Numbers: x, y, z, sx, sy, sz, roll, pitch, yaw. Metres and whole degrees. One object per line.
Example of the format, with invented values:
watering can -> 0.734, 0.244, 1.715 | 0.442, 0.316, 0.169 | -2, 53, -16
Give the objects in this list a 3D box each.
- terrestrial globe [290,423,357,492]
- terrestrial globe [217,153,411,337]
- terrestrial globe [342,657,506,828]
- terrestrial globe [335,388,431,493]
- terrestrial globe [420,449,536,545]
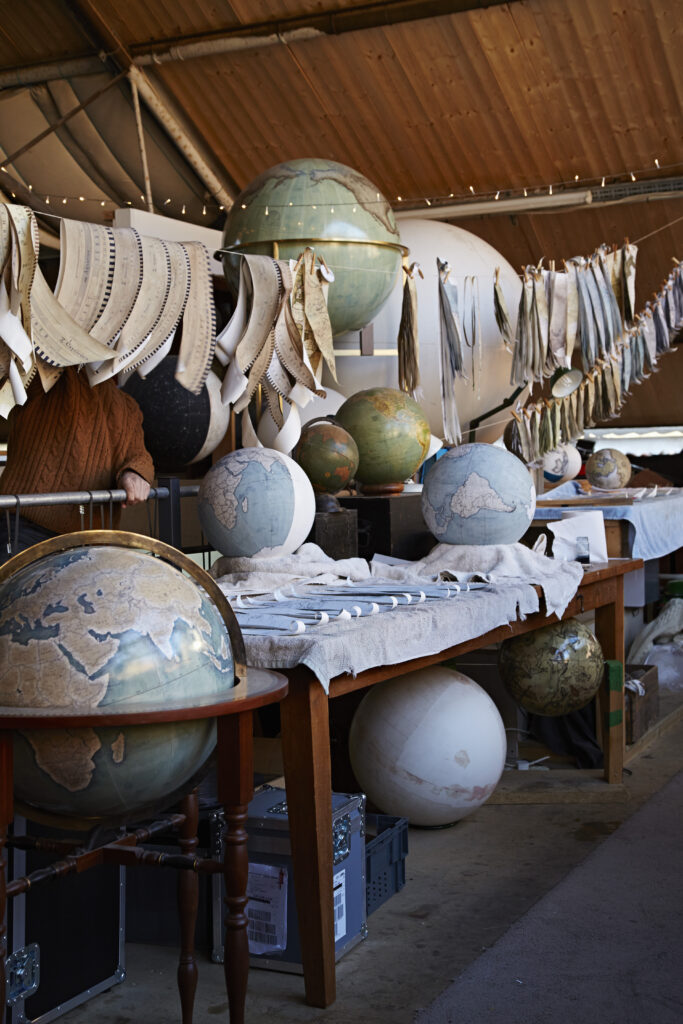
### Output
terrestrial globe -> -0.037, -0.202, 3.094 | 0.255, 0.303, 0.229 | 5, -7, 6
terrestrial globe -> -0.139, -1.040, 3.406 | 0.681, 0.741, 0.673 | 1, -6, -7
terrestrial globe -> 0.293, 0.673, 2.722 | 0.465, 0.509, 0.502 | 7, 16, 12
terrestrial globe -> 0.149, -0.284, 3.477 | 0.400, 0.478, 0.406 | -13, -5, -8
terrestrial globe -> 0.484, -0.058, 2.875 | 0.352, 0.361, 0.348 | -5, 1, 9
